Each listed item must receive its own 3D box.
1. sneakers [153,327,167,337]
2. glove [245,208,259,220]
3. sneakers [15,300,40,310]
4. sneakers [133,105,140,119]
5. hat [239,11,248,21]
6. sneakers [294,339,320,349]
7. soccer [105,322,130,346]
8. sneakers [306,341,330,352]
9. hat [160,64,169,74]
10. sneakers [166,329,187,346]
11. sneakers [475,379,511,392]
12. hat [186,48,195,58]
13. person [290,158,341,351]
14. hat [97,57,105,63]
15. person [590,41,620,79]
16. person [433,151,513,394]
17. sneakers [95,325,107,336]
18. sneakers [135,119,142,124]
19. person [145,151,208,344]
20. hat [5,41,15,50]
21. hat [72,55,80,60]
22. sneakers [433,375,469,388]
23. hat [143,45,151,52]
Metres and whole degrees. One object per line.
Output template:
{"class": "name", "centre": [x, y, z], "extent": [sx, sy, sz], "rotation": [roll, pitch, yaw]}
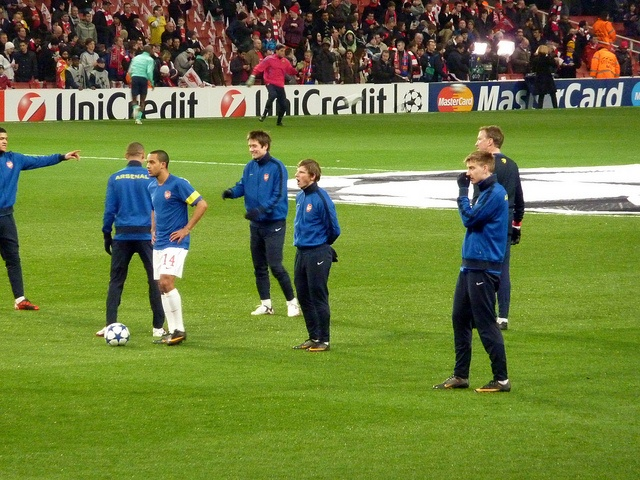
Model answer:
{"class": "sneakers", "centre": [-2.302, 1.344, 19.978], "extent": [0.220, 0.133, 0.103], "rotation": [0, 5, 16]}
{"class": "glove", "centre": [-1.007, -0.367, 20.510], "extent": [0.143, 0.100, 0.177], "rotation": [-20, -6, -15]}
{"class": "sneakers", "centre": [-4.414, 0.986, 21.032], "extent": [0.383, 0.144, 0.139], "rotation": [2, 8, -4]}
{"class": "sneakers", "centre": [-5.580, -3.780, 42.306], "extent": [0.213, 0.527, 0.224], "rotation": [7, 48, -10]}
{"class": "hat", "centre": [-2.667, -7.777, 48.407], "extent": [0.258, 0.251, 0.448], "rotation": [-1, 6, -1]}
{"class": "sneakers", "centre": [-0.182, 1.468, 19.588], "extent": [0.371, 0.131, 0.138], "rotation": [1, 2, 6]}
{"class": "soccer", "centre": [-2.783, 1.333, 19.579], "extent": [0.330, 0.295, 0.311], "rotation": [6, -14, 11]}
{"class": "sneakers", "centre": [-0.007, 1.505, 19.467], "extent": [0.235, 0.089, 0.130], "rotation": [1, -2, -16]}
{"class": "hat", "centre": [-4.957, -5.434, 44.475], "extent": [0.282, 0.286, 0.556], "rotation": [-2, 6, -7]}
{"class": "sneakers", "centre": [-2.016, 1.383, 19.733], "extent": [0.359, 0.155, 0.127], "rotation": [-18, 7, -38]}
{"class": "sneakers", "centre": [2.274, 1.903, 18.164], "extent": [0.516, 0.181, 0.161], "rotation": [1, 3, 1]}
{"class": "hat", "centre": [-4.248, -6.079, 45.492], "extent": [0.234, 0.279, 0.300], "rotation": [21, 17, 30]}
{"class": "person", "centre": [-0.082, 0.361, 19.590], "extent": [0.652, 2.389, 0.580], "rotation": [2, 7, 24]}
{"class": "hat", "centre": [-6.803, -5.571, 43.219], "extent": [0.240, 0.128, 0.176], "rotation": [0, 5, 35]}
{"class": "person", "centre": [11.230, -6.911, 54.845], "extent": [1.115, 1.164, 0.705], "rotation": [-2, 6, -6]}
{"class": "person", "centre": [2.037, 0.420, 18.103], "extent": [0.859, 3.131, 0.722], "rotation": [-1, 6, 5]}
{"class": "sneakers", "centre": [-3.102, 1.309, 19.894], "extent": [0.223, 0.088, 0.129], "rotation": [4, 7, 13]}
{"class": "sneakers", "centre": [-5.470, -3.567, 42.279], "extent": [0.147, 0.155, 0.243], "rotation": [-2, 0, -26]}
{"class": "person", "centre": [-2.030, 0.105, 19.727], "extent": [0.750, 2.728, 0.509], "rotation": [-1, 6, 0]}
{"class": "hat", "centre": [-9.335, -5.845, 42.034], "extent": [0.274, 0.199, 0.194], "rotation": [-8, 17, 17]}
{"class": "hat", "centre": [-7.510, -5.596, 42.784], "extent": [0.184, 0.117, 0.244], "rotation": [-4, -4, -39]}
{"class": "sneakers", "centre": [1.736, 1.870, 18.277], "extent": [0.491, 0.171, 0.163], "rotation": [1, -1, -4]}
{"class": "hat", "centre": [-5.273, -5.833, 42.696], "extent": [0.222, 0.254, 0.255], "rotation": [5, 45, -6]}
